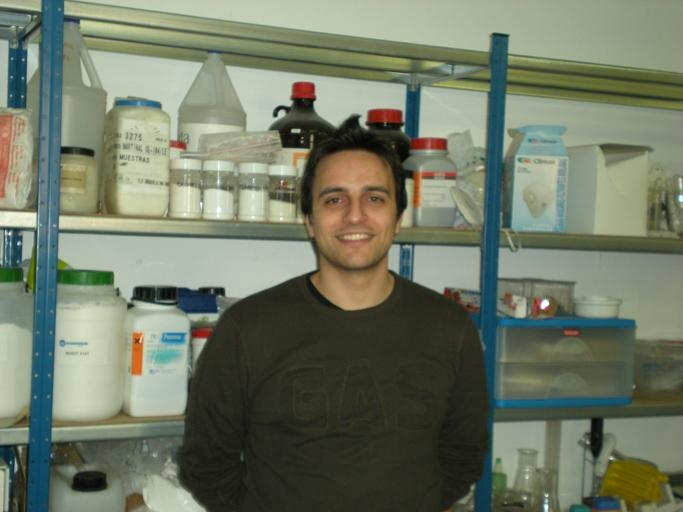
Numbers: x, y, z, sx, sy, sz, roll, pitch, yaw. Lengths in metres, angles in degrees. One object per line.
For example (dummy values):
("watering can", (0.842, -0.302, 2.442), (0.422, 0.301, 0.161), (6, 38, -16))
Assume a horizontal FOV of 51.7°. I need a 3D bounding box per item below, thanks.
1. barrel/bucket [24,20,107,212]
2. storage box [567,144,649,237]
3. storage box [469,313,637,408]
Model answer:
("barrel/bucket", (-0.888, -0.459, 2.272), (0.254, 0.628, 0.260), (7, 7, -1))
("storage box", (0.990, -0.246, 2.608), (0.328, 0.366, 0.210), (3, 2, -7))
("storage box", (0.784, 0.395, 2.731), (0.555, 0.336, 0.409), (1, -2, -7))
